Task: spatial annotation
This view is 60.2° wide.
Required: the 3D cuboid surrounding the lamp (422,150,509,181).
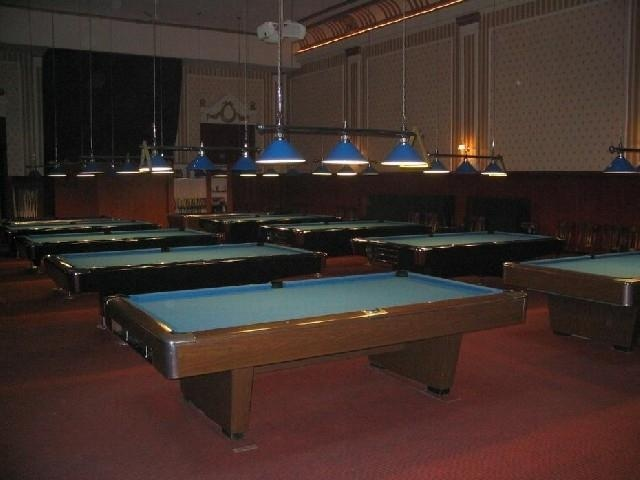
[{"bbox_3d":[2.376,-1.180,8.734,1.027,0.521,3.586,3,11,16],"label":"lamp"}]
